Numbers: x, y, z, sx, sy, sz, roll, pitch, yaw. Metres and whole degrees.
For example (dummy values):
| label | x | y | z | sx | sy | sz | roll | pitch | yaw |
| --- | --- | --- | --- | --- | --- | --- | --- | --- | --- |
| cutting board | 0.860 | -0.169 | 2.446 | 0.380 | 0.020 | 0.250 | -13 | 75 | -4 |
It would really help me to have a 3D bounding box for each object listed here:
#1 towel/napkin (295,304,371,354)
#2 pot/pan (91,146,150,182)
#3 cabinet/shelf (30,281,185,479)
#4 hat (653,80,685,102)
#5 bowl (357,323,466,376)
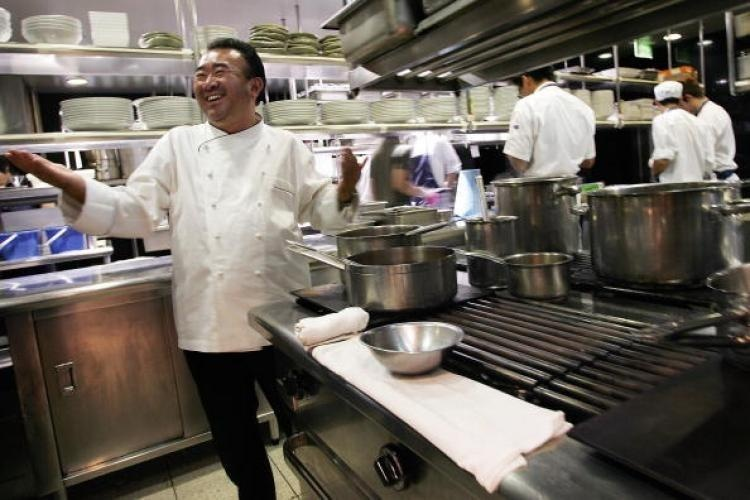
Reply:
| label | x | y | z | sx | sy | sz | roll | pitch | yaw |
| --- | --- | --- | --- | --- | --- | --- | --- | --- | --- |
| towel/napkin | -0.125 | 0.205 | 1.309 | 0.147 | 0.042 | 0.107 | -10 | 10 | -33 |
| pot/pan | -3.897 | -1.373 | 7.383 | 0.806 | 0.629 | 0.517 | -2 | 13 | -20 |
| cabinet/shelf | -1.520 | 0.671 | 2.719 | 0.750 | 0.927 | 0.563 | -12 | 9 | -34 |
| hat | 2.628 | -1.428 | 4.380 | 0.212 | 0.114 | 0.227 | 1 | 14 | 30 |
| bowl | 0.093 | 0.232 | 1.139 | 0.234 | 0.068 | 0.234 | -4 | 9 | 1 |
